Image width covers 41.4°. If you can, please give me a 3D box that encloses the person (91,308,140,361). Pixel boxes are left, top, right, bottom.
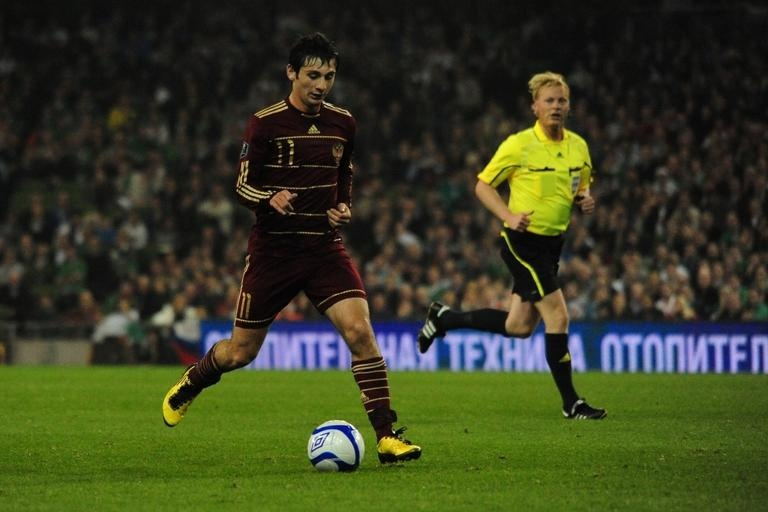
[{"bbox_3d":[-4.657,1.442,17.589,0.717,0.760,1.378,-2,8,-12],"label":"person"}]

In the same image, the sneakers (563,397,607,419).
[{"bbox_3d":[2.156,1.680,10.985,0.449,0.183,0.189,-4,-7,21],"label":"sneakers"}]

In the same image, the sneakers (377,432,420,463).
[{"bbox_3d":[0.107,1.811,9.497,0.463,0.216,0.183,-11,-10,36],"label":"sneakers"}]
